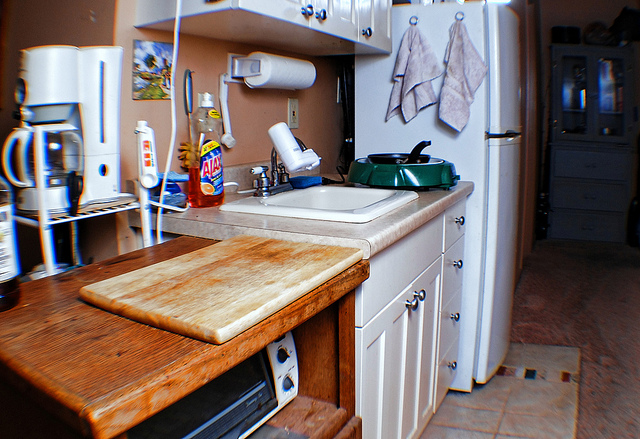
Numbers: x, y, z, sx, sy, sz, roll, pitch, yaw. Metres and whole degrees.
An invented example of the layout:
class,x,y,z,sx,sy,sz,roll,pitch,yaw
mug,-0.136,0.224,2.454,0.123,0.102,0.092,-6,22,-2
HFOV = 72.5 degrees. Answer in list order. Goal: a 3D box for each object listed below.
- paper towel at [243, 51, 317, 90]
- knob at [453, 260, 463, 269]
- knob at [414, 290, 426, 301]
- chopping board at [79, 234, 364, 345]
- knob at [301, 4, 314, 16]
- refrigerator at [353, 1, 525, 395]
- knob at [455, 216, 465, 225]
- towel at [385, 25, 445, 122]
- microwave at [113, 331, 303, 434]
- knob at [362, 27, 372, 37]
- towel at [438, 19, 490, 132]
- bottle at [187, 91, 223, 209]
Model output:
class,x,y,z,sx,sy,sz,roll,pitch,yaw
paper towel,-0.164,-0.659,1.940,0.149,0.167,0.384,10,16,29
knob,0.617,0.200,1.933,0.014,0.035,0.046,-2,-5,40
knob,0.348,0.261,1.524,0.032,0.040,0.053,3,15,19
chopping board,-0.204,0.139,1.064,0.381,0.069,0.596,11,19,40
knob,-0.039,-0.718,1.490,0.019,0.035,0.060,10,18,37
refrigerator,0.600,-0.078,2.146,0.829,1.839,0.428,0,15,8
knob,0.619,0.003,1.913,0.052,0.033,0.034,-2,4,36
towel,0.424,-0.663,1.970,0.267,0.421,0.113,3,15,16
microwave,-0.264,0.343,1.084,0.205,0.221,0.331,-2,13,31
knob,0.198,-0.774,1.792,0.017,0.038,0.066,9,18,35
towel,0.625,-0.635,1.911,0.180,0.465,0.096,3,15,16
bottle,-0.426,-0.256,1.581,0.133,0.390,0.235,-6,15,-16
